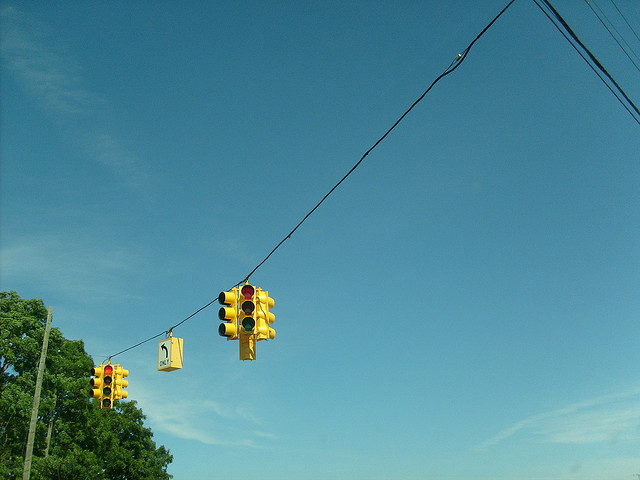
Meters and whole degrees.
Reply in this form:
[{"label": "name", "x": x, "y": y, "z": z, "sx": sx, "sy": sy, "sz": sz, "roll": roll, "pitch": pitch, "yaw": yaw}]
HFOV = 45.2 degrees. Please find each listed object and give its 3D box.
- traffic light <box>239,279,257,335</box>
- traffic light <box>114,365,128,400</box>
[{"label": "traffic light", "x": -4.135, "y": 3.643, "z": 44.171, "sx": 1.036, "sy": 3.164, "sz": 1.298, "roll": 2, "pitch": -34, "yaw": -3}, {"label": "traffic light", "x": -13.658, "y": 9.643, "z": 52.462, "sx": 0.887, "sy": 2.035, "sz": 1.417, "roll": 6, "pitch": -35, "yaw": -10}]
